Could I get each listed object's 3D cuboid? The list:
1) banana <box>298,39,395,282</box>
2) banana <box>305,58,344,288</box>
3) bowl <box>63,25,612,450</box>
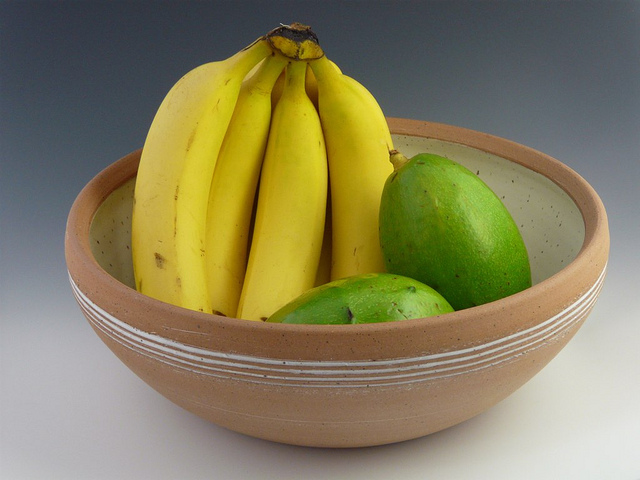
[{"bbox_3d":[0.045,-0.088,1.154,0.101,0.142,0.449,-7,-83,37],"label":"banana"},{"bbox_3d":[0.029,-0.112,1.131,0.070,0.093,0.353,0,-78,9],"label":"banana"},{"bbox_3d":[-0.009,0.017,0.969,0.591,0.712,0.493,-3,-69,-8],"label":"bowl"}]
